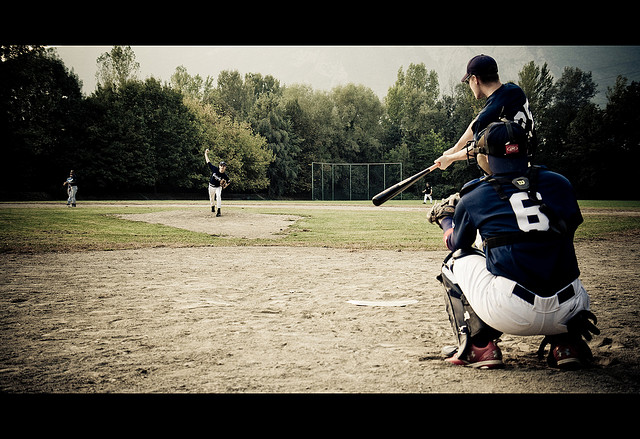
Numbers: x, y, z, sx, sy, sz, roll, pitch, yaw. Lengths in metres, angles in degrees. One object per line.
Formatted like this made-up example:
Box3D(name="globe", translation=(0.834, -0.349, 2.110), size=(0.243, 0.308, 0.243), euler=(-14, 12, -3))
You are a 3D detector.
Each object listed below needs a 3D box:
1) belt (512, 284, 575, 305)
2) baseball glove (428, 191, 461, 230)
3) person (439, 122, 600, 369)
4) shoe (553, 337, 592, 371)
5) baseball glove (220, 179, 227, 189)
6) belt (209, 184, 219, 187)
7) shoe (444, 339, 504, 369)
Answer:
Box3D(name="belt", translation=(1.847, 0.623, 4.562), size=(0.511, 0.154, 0.038), euler=(0, 9, -3))
Box3D(name="baseball glove", translation=(1.176, -0.087, 5.140), size=(0.344, 0.169, 0.246), euler=(-25, 30, 19))
Box3D(name="person", translation=(1.689, 0.246, 4.720), size=(1.249, 2.128, 0.472), euler=(2, 9, 12))
Box3D(name="shoe", translation=(2.153, 1.173, 4.846), size=(0.188, 0.220, 0.331), euler=(-7, -9, 24))
Box3D(name="baseball glove", translation=(-2.986, -1.128, 17.186), size=(0.159, 0.186, 0.328), euler=(0, -8, -5))
Box3D(name="belt", translation=(-3.201, -1.029, 16.945), size=(0.243, 0.062, 0.086), euler=(-1, 8, -12))
Box3D(name="shoe", translation=(1.370, 1.220, 5.008), size=(0.265, 0.283, 0.636), euler=(6, -15, -35))
